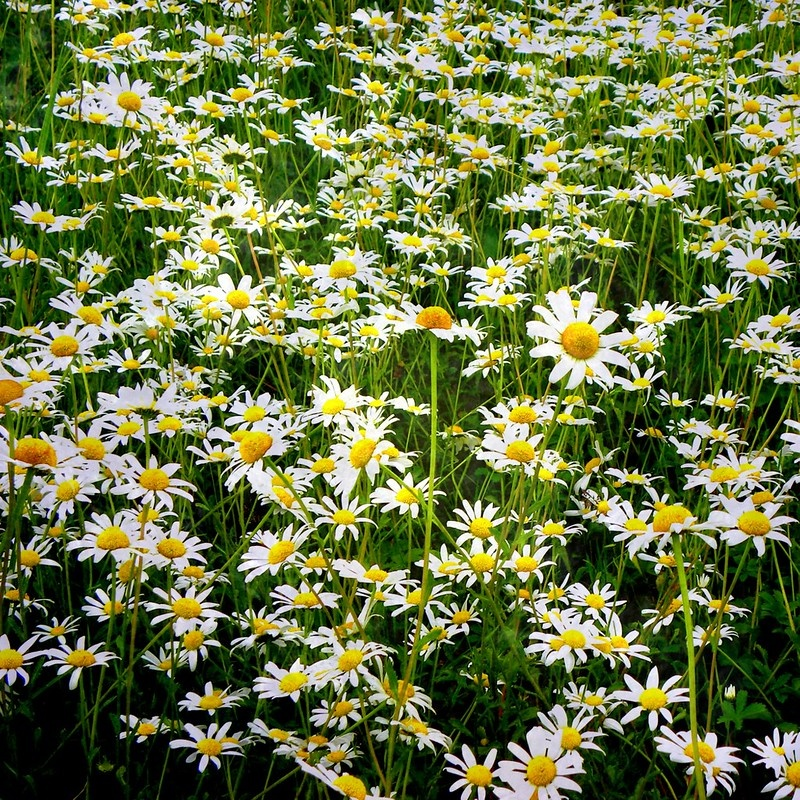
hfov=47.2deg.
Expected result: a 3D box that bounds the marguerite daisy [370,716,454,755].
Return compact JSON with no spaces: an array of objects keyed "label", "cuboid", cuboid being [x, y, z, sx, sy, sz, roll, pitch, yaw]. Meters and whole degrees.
[{"label":"marguerite daisy","cuboid":[0.049,0.986,2.731,0.182,0.065,0.195,16,11,-31]}]

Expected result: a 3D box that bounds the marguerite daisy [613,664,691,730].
[{"label":"marguerite daisy","cuboid":[0.763,0.932,2.803,0.215,0.095,0.262,-8,6,7]}]
